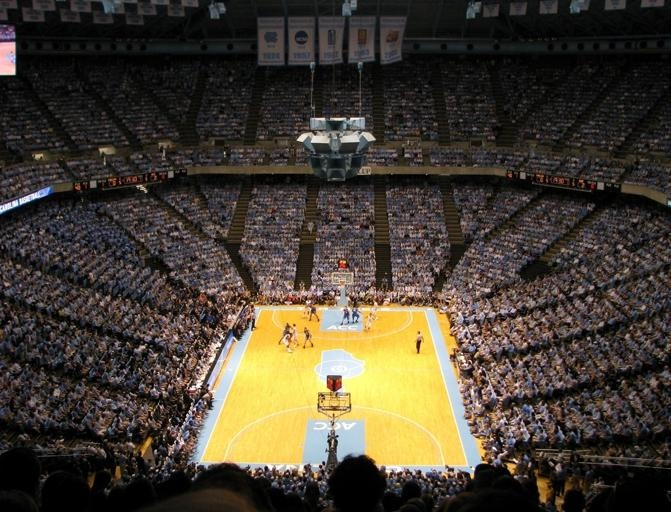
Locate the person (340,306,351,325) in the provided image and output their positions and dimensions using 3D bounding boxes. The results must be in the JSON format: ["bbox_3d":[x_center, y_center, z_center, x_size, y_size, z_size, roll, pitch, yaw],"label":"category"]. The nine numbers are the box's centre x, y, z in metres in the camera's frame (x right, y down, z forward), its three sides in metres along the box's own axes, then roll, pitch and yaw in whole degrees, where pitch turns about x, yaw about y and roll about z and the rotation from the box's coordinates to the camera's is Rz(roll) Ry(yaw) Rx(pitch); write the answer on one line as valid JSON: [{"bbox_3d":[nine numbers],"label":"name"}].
[{"bbox_3d":[0.870,4.573,40.864,0.677,1.769,1.536,0,-42,4],"label":"person"}]

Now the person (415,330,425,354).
[{"bbox_3d":[5.872,5.937,35.906,0.500,1.307,2.412,-3,-44,7],"label":"person"}]

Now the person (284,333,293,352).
[{"bbox_3d":[-3.231,6.185,36.270,0.642,1.196,1.389,5,-43,-3],"label":"person"}]

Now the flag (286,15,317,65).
[{"bbox_3d":[-3.637,-23.174,55.457,2.806,2.114,4.227,3,-43,0],"label":"flag"}]
